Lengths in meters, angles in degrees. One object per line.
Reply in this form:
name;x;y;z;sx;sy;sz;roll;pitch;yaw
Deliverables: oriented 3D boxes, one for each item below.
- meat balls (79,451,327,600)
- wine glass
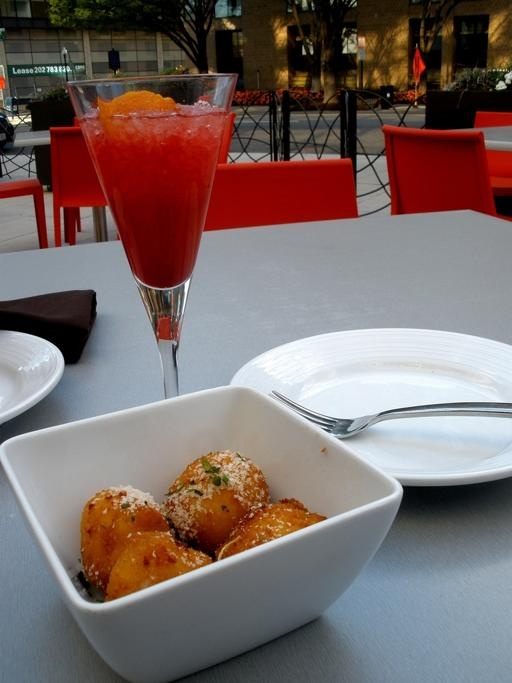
meat balls;-0.025;0.089;0.258;0.115;0.038;0.091;-9;13;-30
wine glass;-0.065;-0.072;0.444;0.118;0.237;0.115;-13;19;-39
